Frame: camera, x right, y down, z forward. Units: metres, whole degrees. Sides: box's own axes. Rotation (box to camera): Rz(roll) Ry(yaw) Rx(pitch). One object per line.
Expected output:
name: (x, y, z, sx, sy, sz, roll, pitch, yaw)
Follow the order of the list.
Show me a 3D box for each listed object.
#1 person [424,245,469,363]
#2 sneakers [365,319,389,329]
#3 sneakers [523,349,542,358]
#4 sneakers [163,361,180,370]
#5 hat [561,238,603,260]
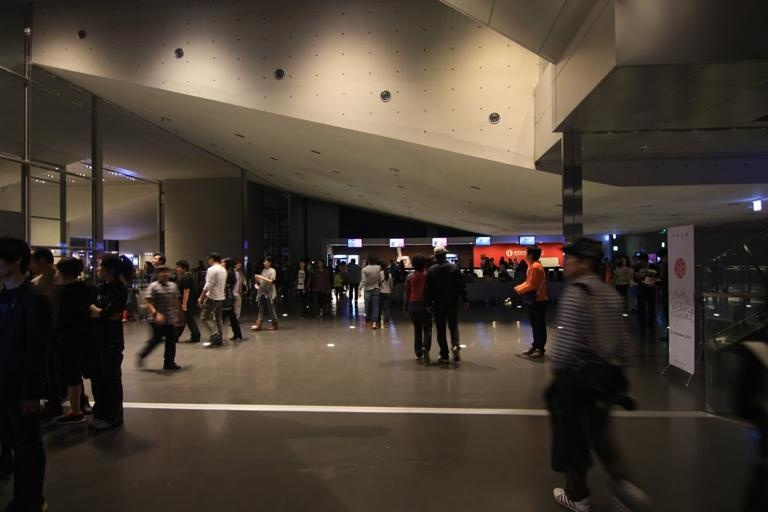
person: (1.142, 0.904, 10.109, 0.665, 2.246, 1.283, 0, 9, 9)
sneakers: (-0.212, 1.741, 13.923, 0.639, 0.300, 0.228, -1, 13, 3)
sneakers: (2.773, 1.806, 10.253, 0.356, 0.168, 0.126, 3, -1, 5)
sneakers: (-3.680, 1.908, 9.524, 0.241, 0.163, 0.132, -2, 2, -14)
hat: (2.095, -0.070, 5.861, 0.233, 0.127, 0.323, 8, 3, -32)
